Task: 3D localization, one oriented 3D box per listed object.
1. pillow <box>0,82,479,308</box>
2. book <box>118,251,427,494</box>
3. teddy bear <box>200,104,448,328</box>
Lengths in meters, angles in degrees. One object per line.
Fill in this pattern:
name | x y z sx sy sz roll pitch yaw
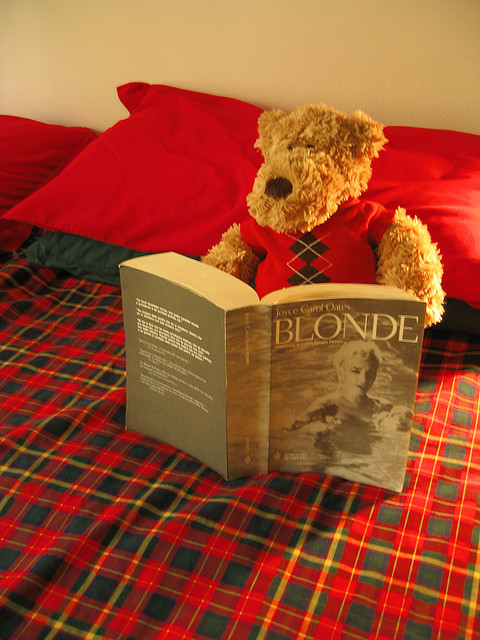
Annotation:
pillow | 0.011 -0.280 1.214 0.764 0.122 0.570 16 57 10
book | 0.017 0.079 0.724 0.401 0.276 0.120 10 28 18
teddy bear | 0.122 -0.167 0.909 0.380 0.318 0.246 3 18 31
